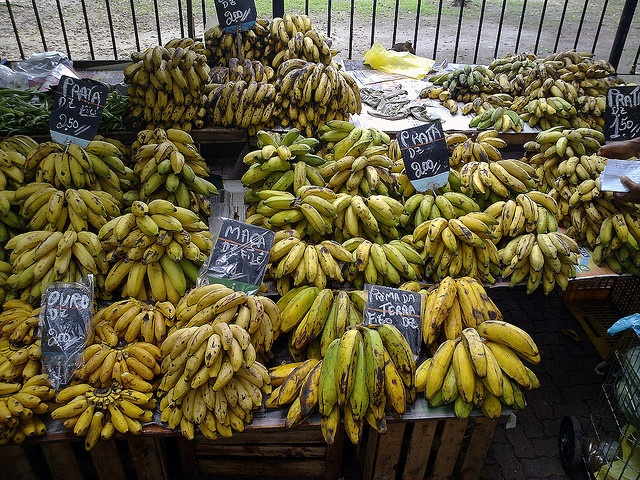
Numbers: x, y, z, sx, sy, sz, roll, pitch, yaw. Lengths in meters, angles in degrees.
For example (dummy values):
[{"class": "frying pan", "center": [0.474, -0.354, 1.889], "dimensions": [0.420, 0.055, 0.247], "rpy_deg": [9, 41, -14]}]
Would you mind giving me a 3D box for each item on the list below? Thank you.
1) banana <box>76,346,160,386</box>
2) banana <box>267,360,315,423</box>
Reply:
[{"class": "banana", "center": [-1.287, 0.819, 3.156], "dimensions": [0.510, 0.218, 0.238], "rpy_deg": [2, 25, 3]}, {"class": "banana", "center": [-0.171, 0.980, 3.149], "dimensions": [0.223, 0.119, 0.369], "rpy_deg": [44, 42, 1]}]
